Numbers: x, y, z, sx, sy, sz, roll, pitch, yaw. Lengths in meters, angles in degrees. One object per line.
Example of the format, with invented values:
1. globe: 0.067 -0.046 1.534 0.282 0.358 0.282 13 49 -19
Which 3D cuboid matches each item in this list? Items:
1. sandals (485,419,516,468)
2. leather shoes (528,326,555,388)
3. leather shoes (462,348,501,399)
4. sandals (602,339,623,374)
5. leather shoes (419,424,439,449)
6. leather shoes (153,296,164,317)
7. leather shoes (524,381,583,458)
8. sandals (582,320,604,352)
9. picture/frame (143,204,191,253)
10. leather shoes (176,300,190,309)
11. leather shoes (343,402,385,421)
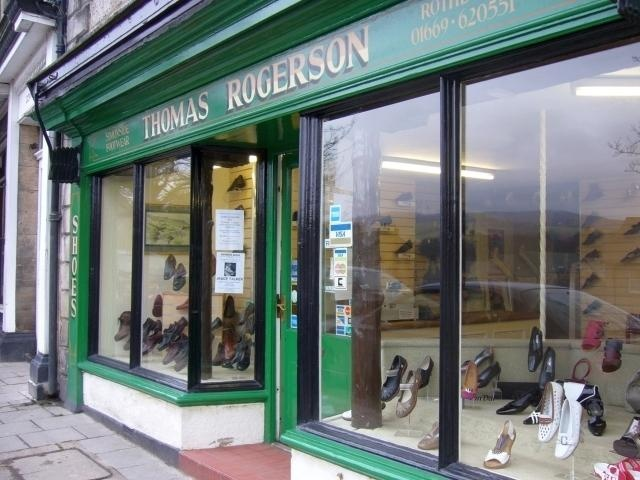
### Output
1. sandals: 1.160 1.307 3.346 0.134 0.112 0.376 -7 18 40
2. leather shoes: 1.688 0.894 3.978 0.154 0.478 0.127 -10 -29 31
3. leather shoes: 1.120 0.953 3.660 0.172 0.250 0.570 -4 -11 30
4. sandals: 2.211 0.872 3.953 0.105 0.323 0.136 -11 -46 39
5. leather shoes: 0.755 1.317 3.505 0.092 0.083 0.200 -8 -7 44
6. leather shoes: -1.845 0.752 5.949 0.126 0.233 0.047 6 4 8
7. leather shoes: 1.471 1.140 3.203 0.113 0.482 0.242 22 -7 -32
8. sandals: 2.146 0.750 4.104 0.120 0.162 0.373 -4 1 24
9. picture/frame: -1.685 -0.144 5.840 0.765 0.485 0.019 3 5 36
10. leather shoes: -1.458 0.682 5.546 0.078 0.107 0.258 7 -6 -35
11. leather shoes: 0.357 1.287 3.946 0.365 0.163 0.136 0 -8 14
